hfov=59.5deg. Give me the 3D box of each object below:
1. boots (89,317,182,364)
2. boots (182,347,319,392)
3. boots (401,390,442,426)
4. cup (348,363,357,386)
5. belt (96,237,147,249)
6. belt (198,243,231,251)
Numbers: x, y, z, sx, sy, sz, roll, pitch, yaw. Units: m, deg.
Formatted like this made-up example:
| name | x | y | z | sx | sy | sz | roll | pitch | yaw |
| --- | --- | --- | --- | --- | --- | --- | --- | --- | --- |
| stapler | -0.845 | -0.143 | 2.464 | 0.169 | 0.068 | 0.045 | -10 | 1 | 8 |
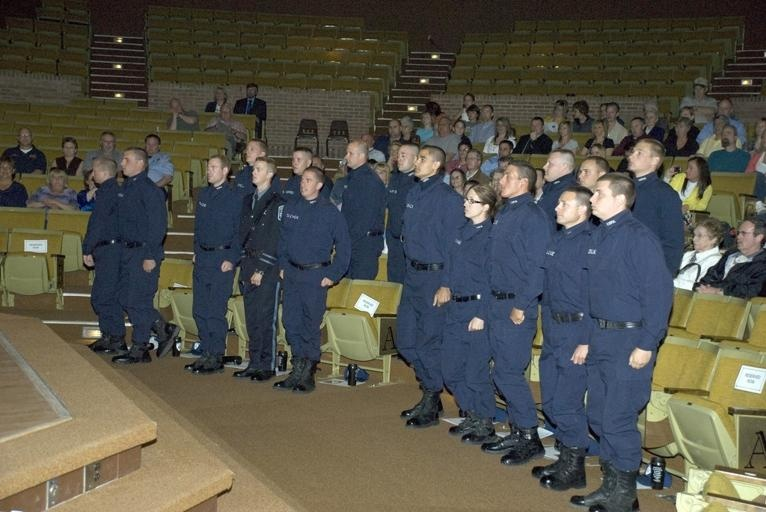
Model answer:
| name | x | y | z | sx | sy | sz | roll | pitch | yaw |
| --- | --- | --- | --- | --- | --- | --- | --- | --- | --- |
| boots | -2.798 | 0.999 | 7.974 | 1.252 | 0.536 | 0.395 | 6 | 10 | -26 |
| boots | -1.422 | 1.240 | 7.272 | 0.818 | 0.518 | 0.338 | 10 | -9 | -31 |
| boots | 0.399 | 1.456 | 6.351 | 0.466 | 0.306 | 0.198 | 2 | 0 | -27 |
| cup | -0.337 | 1.274 | 7.247 | 0.113 | 0.187 | 0.193 | 2 | 12 | -4 |
| belt | -3.073 | -0.140 | 7.756 | 0.603 | 0.128 | 0.059 | 6 | 13 | 12 |
| belt | -1.875 | -0.097 | 7.475 | 0.348 | 0.090 | 0.045 | 4 | 13 | 7 |
